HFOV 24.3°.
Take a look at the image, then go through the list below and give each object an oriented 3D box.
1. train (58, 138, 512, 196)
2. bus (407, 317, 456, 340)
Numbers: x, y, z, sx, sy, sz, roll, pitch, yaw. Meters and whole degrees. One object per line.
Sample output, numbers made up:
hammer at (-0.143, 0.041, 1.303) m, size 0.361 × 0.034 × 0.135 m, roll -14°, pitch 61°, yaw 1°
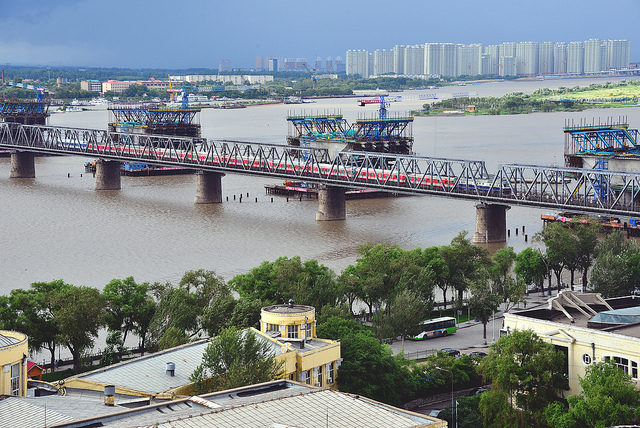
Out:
train at (-5.278, -4.610, 157.993) m, size 36.251 × 1.879 × 3.328 m, roll 8°, pitch 8°, yaw 23°
bus at (8.340, 8.437, 108.322) m, size 1.398 × 1.222 × 4.443 m, roll -5°, pitch -5°, yaw 43°
